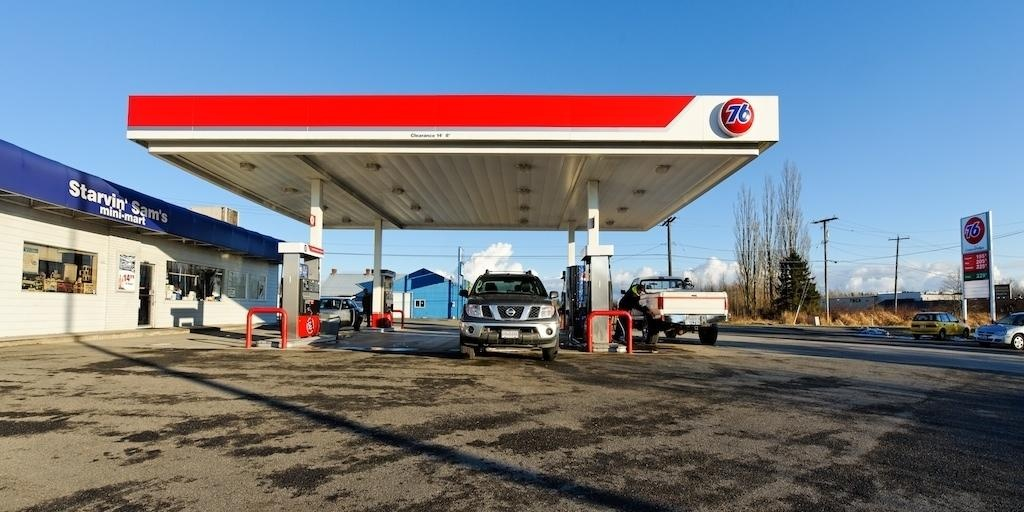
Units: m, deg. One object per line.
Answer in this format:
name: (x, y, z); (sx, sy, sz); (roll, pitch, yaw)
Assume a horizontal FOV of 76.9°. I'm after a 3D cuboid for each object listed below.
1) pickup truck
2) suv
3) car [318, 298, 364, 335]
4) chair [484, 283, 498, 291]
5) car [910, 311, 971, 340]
pickup truck: (7.215, 2.311, 29.973); (4.158, 2.718, 6.832); (2, -2, -2)
suv: (-0.115, 2.076, 22.349); (3.261, 3.187, 1.643); (-1, -8, 2)
car: (-8.793, 2.793, 32.110); (1.768, 1.039, 2.692); (-1, -9, 13)
chair: (-0.786, 1.135, 22.973); (0.481, 0.342, 0.223); (1, -15, 0)
car: (25.165, 4.209, 38.463); (3.495, 1.594, 1.635); (4, -9, -30)
